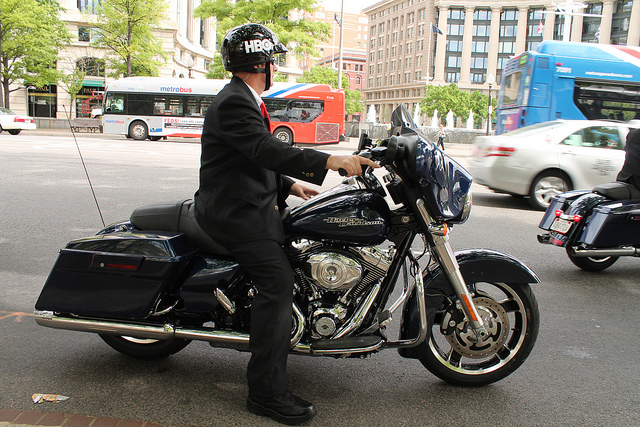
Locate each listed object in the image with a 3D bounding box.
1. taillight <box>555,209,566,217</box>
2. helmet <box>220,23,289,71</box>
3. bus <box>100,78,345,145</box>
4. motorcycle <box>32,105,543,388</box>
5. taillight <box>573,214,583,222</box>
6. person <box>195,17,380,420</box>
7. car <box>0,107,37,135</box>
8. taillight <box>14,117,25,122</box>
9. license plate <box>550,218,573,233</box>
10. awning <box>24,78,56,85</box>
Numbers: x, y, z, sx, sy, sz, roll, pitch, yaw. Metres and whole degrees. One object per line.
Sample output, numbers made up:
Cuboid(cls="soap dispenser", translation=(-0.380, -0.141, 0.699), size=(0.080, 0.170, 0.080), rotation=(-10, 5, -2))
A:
Cuboid(cls="taillight", translation=(3.299, -0.003, 6.646), size=(0.121, 0.080, 0.093), rotation=(8, 14, 24))
Cuboid(cls="helmet", translation=(-0.485, -1.272, 3.578), size=(0.556, 0.263, 0.362), rotation=(-6, 27, 3))
Cuboid(cls="bus", translation=(-5.542, -5.795, 28.251), size=(14.287, 3.575, 3.193), rotation=(3, 9, 3))
Cuboid(cls="motorcycle", translation=(-0.235, 0.325, 3.797), size=(3.993, 1.679, 1.456), rotation=(2, -1, 4))
Cuboid(cls="taillight", translation=(3.442, 0.074, 6.440), size=(0.112, 0.091, 0.055), rotation=(8, 15, 23))
Cuboid(cls="person", translation=(-0.381, 0.041, 3.436), size=(0.602, 2.746, 1.106), rotation=(-12, 20, -44))
Cuboid(cls="car", translation=(-17.745, -5.347, 28.126), size=(1.046, 1.450, 1.722), rotation=(4, 13, 5))
Cuboid(cls="taillight", translation=(-17.478, -5.429, 27.925), size=(0.157, 0.249, 0.568), rotation=(7, 13, 16))
Cuboid(cls="license plate", translation=(3.266, 0.172, 6.527), size=(0.060, 0.179, 0.211), rotation=(18, 5, -42))
Cuboid(cls="awning", translation=(-20.489, -9.655, 35.246), size=(2.058, 0.386, 1.445), rotation=(-7, 15, -36))
